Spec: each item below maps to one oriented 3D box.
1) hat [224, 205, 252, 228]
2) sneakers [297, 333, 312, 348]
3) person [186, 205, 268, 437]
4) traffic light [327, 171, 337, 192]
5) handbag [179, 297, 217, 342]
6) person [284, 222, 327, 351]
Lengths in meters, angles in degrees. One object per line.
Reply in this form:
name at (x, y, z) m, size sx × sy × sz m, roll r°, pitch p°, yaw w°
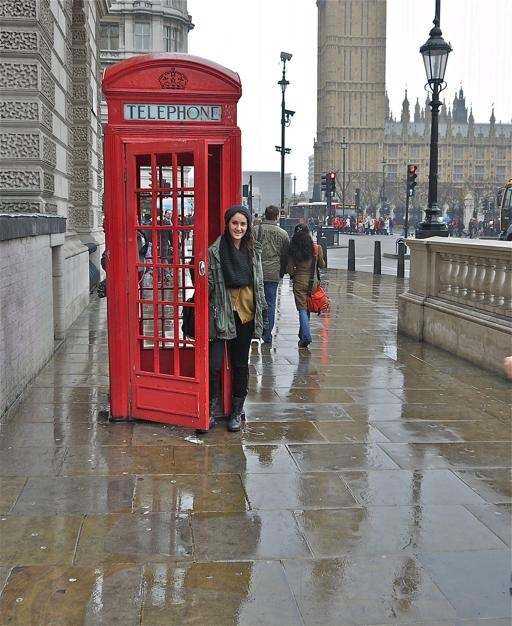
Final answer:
hat at (-0.142, -0.761, 5.170) m, size 0.127 × 0.158 × 0.187 m, roll 2°, pitch 5°, yaw 5°
sneakers at (0.686, 0.413, 9.404) m, size 0.089 × 0.215 × 0.284 m, roll 0°, pitch -13°, yaw -12°
person at (-0.218, 0.047, 5.285) m, size 0.640 × 1.791 × 0.517 m, roll -1°, pitch 3°, yaw -21°
traffic light at (4.300, -7.293, 37.082) m, size 0.425 × 1.105 × 2.199 m, roll 1°, pitch 4°, yaw 10°
handbag at (-0.473, 0.023, 5.329) m, size 0.230 × 0.462 × 0.308 m, roll 2°, pitch 9°, yaw -13°
person at (0.766, -0.421, 9.788) m, size 0.584 × 1.784 × 1.124 m, roll 1°, pitch 3°, yaw 3°
